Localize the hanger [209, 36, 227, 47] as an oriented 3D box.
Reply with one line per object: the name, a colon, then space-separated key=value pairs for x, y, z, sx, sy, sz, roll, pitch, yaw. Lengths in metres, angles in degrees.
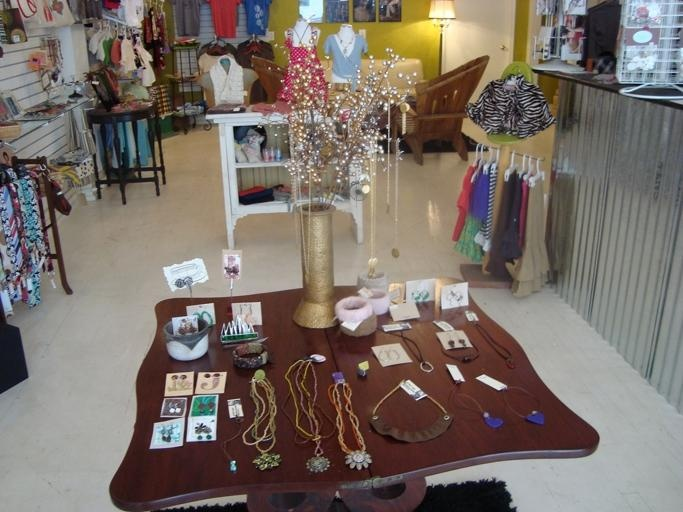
hanger: x=-2.471 y=-4.286 z=9.868 sx=0.284 sy=0.112 sz=0.311 roll=-11 pitch=60 yaw=-20

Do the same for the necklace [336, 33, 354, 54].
necklace: x=0.063 y=-2.866 z=6.567 sx=0.210 sy=0.266 sz=0.124 roll=-5 pitch=24 yaw=-3

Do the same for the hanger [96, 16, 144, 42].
hanger: x=-3.392 y=-3.498 z=7.433 sx=0.556 sy=0.307 sz=1.130 roll=-8 pitch=26 yaw=-11

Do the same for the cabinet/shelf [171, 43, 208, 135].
cabinet/shelf: x=-3.120 y=-3.436 z=9.820 sx=0.731 sy=1.616 sz=1.252 roll=-10 pitch=25 yaw=-15

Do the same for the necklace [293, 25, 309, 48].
necklace: x=-0.494 y=-2.745 z=5.995 sx=0.203 sy=0.230 sz=0.404 roll=-4 pitch=25 yaw=-2

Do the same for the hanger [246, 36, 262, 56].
hanger: x=-1.772 y=-4.287 z=9.849 sx=0.282 sy=0.427 sz=0.270 roll=-5 pitch=21 yaw=-16
